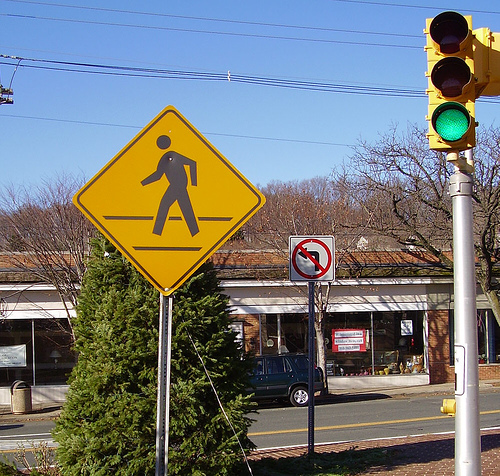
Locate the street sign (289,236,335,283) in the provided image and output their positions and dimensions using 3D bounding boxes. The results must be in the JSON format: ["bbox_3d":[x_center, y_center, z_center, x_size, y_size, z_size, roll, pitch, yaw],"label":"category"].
[{"bbox_3d":[0.889,0.280,13.297,0.640,0.671,0.064,0,0,-1],"label":"street sign"}]

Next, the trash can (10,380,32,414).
[{"bbox_3d":[-5.981,4.180,24.141,0.513,0.880,0.558,0,-12,-14],"label":"trash can"}]

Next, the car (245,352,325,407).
[{"bbox_3d":[0.757,3.775,24.754,2.895,1.616,1.563,3,-8,-12],"label":"car"}]

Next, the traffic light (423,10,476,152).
[{"bbox_3d":[2.115,-1.685,9.807,0.579,1.436,0.484,-5,-12,12],"label":"traffic light"}]

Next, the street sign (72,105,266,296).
[{"bbox_3d":[-0.846,-0.461,9.610,2.003,1.985,0.070,-1,7,-22],"label":"street sign"}]
